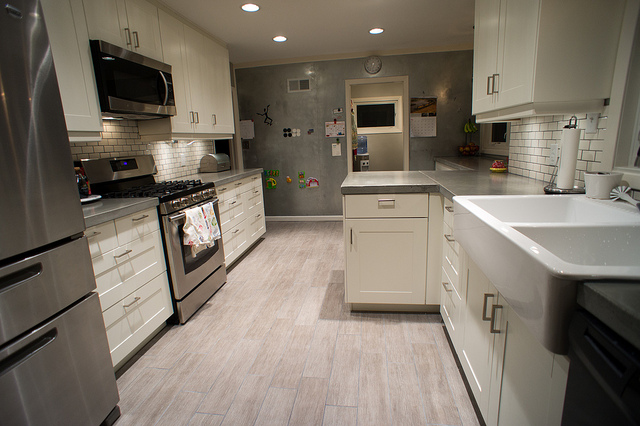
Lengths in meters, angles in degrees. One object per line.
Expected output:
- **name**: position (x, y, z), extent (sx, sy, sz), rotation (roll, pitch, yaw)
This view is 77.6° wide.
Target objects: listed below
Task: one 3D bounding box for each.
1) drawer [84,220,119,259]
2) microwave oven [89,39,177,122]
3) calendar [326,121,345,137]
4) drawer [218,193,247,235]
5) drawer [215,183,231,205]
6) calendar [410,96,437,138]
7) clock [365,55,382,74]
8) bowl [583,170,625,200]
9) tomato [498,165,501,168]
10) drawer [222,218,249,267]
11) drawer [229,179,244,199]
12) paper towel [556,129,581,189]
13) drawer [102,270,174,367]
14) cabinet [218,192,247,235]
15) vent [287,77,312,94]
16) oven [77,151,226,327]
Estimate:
- **drawer**: position (-1.439, 0.164, 2.682), extent (0.175, 0.235, 0.245), rotation (0, 18, 15)
- **microwave oven**: position (-1.631, -1.084, 3.413), extent (0.377, 0.516, 0.820), rotation (1, 9, 16)
- **calendar**: position (0.226, -1.224, 5.743), extent (0.205, 0.163, 0.029), rotation (1, 18, 7)
- **drawer**: position (-1.043, -0.018, 4.351), extent (0.281, 0.246, 0.501), rotation (9, 24, 32)
- **drawer**: position (-0.990, -0.209, 4.102), extent (0.151, 0.164, 0.235), rotation (4, 17, 16)
- **calendar**: position (1.439, -1.371, 5.544), extent (0.496, 0.699, 0.026), rotation (-1, 20, 2)
- **clock**: position (0.735, -2.039, 5.496), extent (0.231, 0.229, 0.037), rotation (0, 14, 8)
- **bowl**: position (1.642, -0.175, 2.302), extent (0.164, 0.154, 0.193), rotation (2, 8, 27)
- **tomato**: position (1.626, -0.426, 3.617), extent (0.018, 0.019, 0.019), rotation (2, 16, 19)
- **drawer**: position (-0.930, 0.318, 4.311), extent (0.168, 0.233, 0.464), rotation (-1, 11, 5)
- **drawer**: position (-0.921, -0.277, 4.400), extent (0.038, 0.164, 0.172), rotation (1, 3, 17)
- **paper towel**: position (1.595, -0.350, 2.564), extent (0.102, 0.370, 0.180), rotation (7, 17, 31)
- **drawer**: position (-1.317, 0.733, 2.927), extent (0.407, 0.438, 0.702), rotation (-6, 18, 12)
- **cabinet**: position (-0.944, -0.010, 4.307), extent (0.305, 0.255, 0.507), rotation (3, 16, 18)
- **vent**: position (-0.294, -1.821, 5.702), extent (0.348, 0.209, 0.063), rotation (-2, 14, -1)
- **oven**: position (-1.419, 0.123, 3.755), extent (1.118, 1.392, 1.194), rotation (0, 13, 10)
